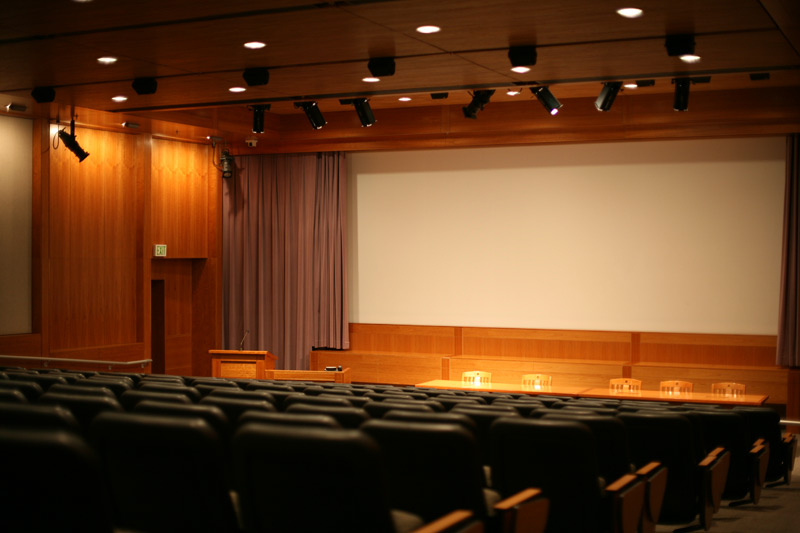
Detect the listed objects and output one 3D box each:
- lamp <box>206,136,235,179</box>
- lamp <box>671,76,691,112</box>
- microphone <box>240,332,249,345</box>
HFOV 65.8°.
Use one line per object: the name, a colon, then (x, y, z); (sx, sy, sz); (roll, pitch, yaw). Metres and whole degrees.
lamp: (-3.649, -2.181, 12.552); (0.340, 0.744, 0.725); (0, -2, 25)
lamp: (3.470, -2.154, 7.639); (0.162, 0.404, 0.419); (0, -2, 21)
microphone: (-3.183, 1.492, 12.591); (0.185, 0.357, 0.265); (1, -2, -4)
